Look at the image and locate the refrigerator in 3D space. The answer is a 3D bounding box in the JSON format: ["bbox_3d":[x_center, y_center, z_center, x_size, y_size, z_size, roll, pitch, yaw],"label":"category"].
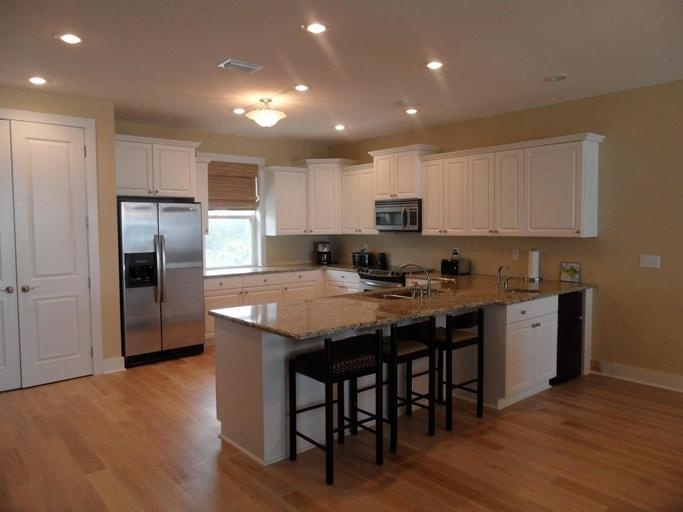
[{"bbox_3d":[-2.169,0.308,6.183,1.071,1.968,0.377,-6,13,-26],"label":"refrigerator"}]

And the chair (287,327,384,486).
[{"bbox_3d":[0.035,1.053,3.958,0.870,1.060,0.576,-8,14,-31],"label":"chair"}]

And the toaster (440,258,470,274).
[{"bbox_3d":[1.477,0.129,6.648,0.350,0.195,0.297,-11,16,-43],"label":"toaster"}]

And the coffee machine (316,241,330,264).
[{"bbox_3d":[-0.304,-0.058,8.290,0.256,0.473,0.334,0,1,-4],"label":"coffee machine"}]

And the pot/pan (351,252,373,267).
[{"bbox_3d":[0.321,0.063,7.670,0.317,0.209,0.435,0,11,2],"label":"pot/pan"}]

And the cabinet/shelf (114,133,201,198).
[{"bbox_3d":[-2.317,-1.106,6.324,0.979,0.697,0.367,-1,3,-37],"label":"cabinet/shelf"}]

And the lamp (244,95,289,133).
[{"bbox_3d":[-0.827,-1.537,5.551,0.404,0.339,0.405,0,2,-7],"label":"lamp"}]

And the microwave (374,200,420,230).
[{"bbox_3d":[0.759,-0.564,7.004,0.400,0.473,0.734,0,1,-39],"label":"microwave"}]

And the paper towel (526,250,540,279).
[{"bbox_3d":[2.236,0.094,5.935,0.137,0.328,0.217,4,13,22],"label":"paper towel"}]
